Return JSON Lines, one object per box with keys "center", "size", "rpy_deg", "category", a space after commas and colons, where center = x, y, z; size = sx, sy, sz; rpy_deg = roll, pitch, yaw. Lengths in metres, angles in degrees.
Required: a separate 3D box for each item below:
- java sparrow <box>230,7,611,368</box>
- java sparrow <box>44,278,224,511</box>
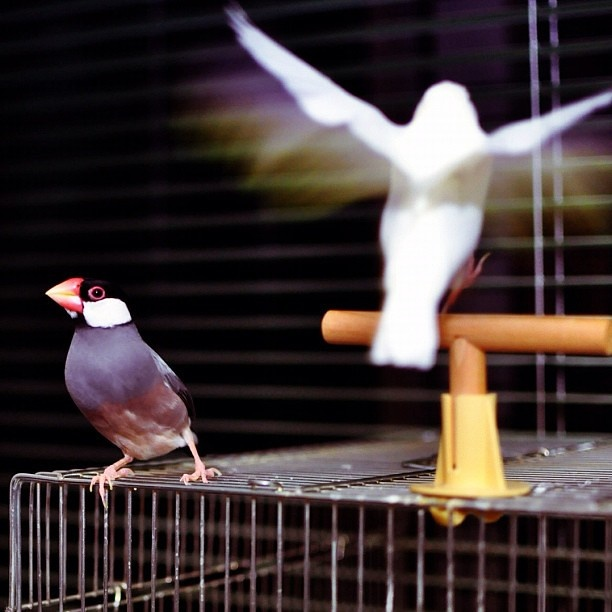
{"center": [0.160, -0.110, 1.401], "size": [0.631, 0.257, 0.366], "rpy_deg": [4, 43, 14], "category": "java sparrow"}
{"center": [-0.229, 0.107, 1.468], "size": [0.167, 0.290, 0.166], "rpy_deg": [-8, 4, -10], "category": "java sparrow"}
